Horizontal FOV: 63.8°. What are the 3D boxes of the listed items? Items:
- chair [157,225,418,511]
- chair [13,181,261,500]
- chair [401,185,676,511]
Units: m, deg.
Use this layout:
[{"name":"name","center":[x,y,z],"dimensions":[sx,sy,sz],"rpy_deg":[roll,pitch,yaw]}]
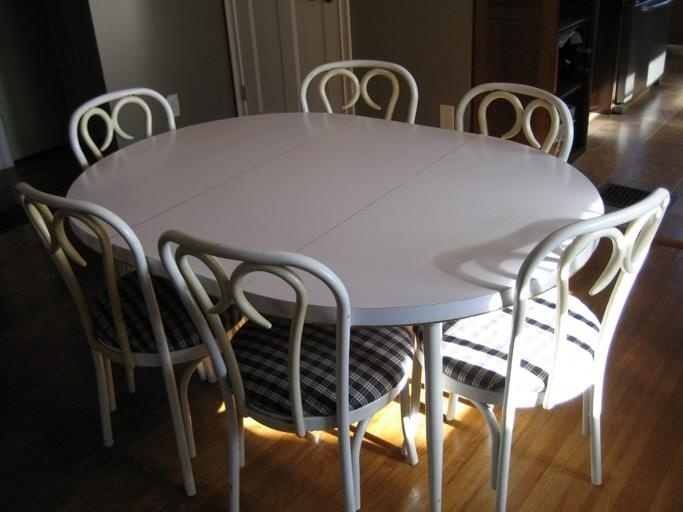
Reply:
[{"name":"chair","center":[-0.138,0.339,1.652],"dimensions":[0.746,1.060,0.547],"rpy_deg":[2,25,8]},{"name":"chair","center":[-0.663,0.195,1.927],"dimensions":[0.468,1.131,0.592],"rpy_deg":[11,30,20]},{"name":"chair","center":[0.590,0.329,1.714],"dimensions":[0.464,1.021,0.593],"rpy_deg":[-20,40,-16]}]
